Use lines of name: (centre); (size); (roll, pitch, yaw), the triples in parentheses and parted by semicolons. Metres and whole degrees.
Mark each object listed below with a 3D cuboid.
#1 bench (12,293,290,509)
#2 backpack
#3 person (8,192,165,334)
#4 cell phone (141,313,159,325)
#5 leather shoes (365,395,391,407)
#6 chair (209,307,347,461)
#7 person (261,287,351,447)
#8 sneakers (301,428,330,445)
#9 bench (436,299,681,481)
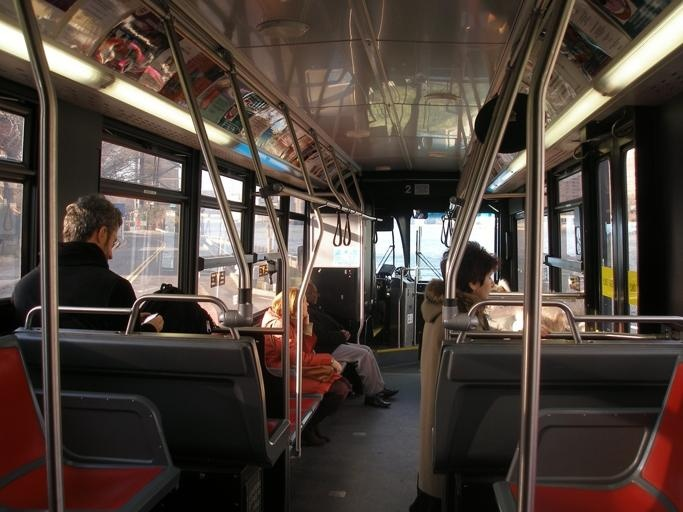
bench: (-0.917, 0.405, 2.760); (1.298, 1.283, 0.757); (1, 0, 14)
backpack: (-1.153, 0.404, 3.683); (0.444, 0.439, 0.304); (-7, 4, -10)
person: (-1.584, 0.077, 3.198); (0.927, 0.880, 0.526); (-1, -11, 5)
cell phone: (-1.293, 0.427, 3.517); (0.099, 0.114, 0.124); (2, -9, -20)
leather shoes: (0.398, 1.688, 6.076); (0.346, 0.143, 0.119); (-5, -3, 23)
chair: (-0.403, 0.887, 3.490); (0.610, 0.935, 1.478); (-1, -2, -2)
person: (-0.344, 1.063, 4.974); (0.774, 1.466, 0.532); (1, 4, 7)
sneakers: (-0.252, 1.701, 4.883); (0.173, 0.068, 0.178); (2, -7, 5)
bench: (0.834, 0.559, 2.196); (1.037, 0.751, 0.545); (0, 0, -1)
